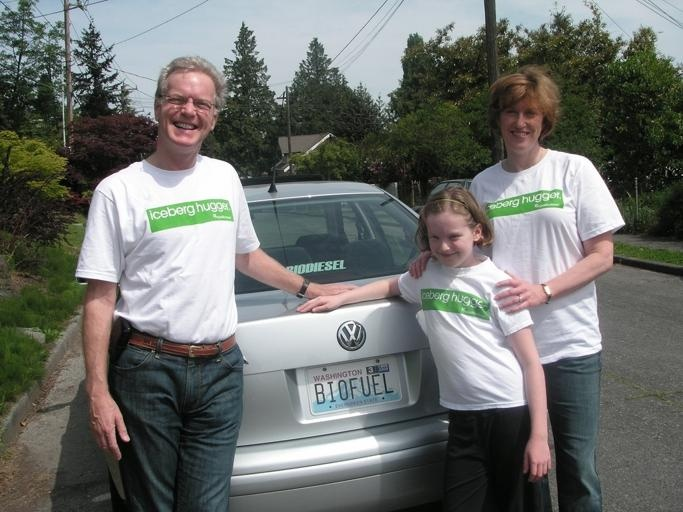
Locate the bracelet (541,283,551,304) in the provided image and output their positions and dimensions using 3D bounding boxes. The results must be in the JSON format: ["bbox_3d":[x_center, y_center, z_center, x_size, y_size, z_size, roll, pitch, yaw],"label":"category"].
[{"bbox_3d":[0.983,0.184,2.639,0.047,0.082,0.082,-6,-26,3],"label":"bracelet"}]

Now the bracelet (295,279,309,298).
[{"bbox_3d":[-0.210,0.185,3.038,0.060,0.100,0.102,28,-18,4],"label":"bracelet"}]
